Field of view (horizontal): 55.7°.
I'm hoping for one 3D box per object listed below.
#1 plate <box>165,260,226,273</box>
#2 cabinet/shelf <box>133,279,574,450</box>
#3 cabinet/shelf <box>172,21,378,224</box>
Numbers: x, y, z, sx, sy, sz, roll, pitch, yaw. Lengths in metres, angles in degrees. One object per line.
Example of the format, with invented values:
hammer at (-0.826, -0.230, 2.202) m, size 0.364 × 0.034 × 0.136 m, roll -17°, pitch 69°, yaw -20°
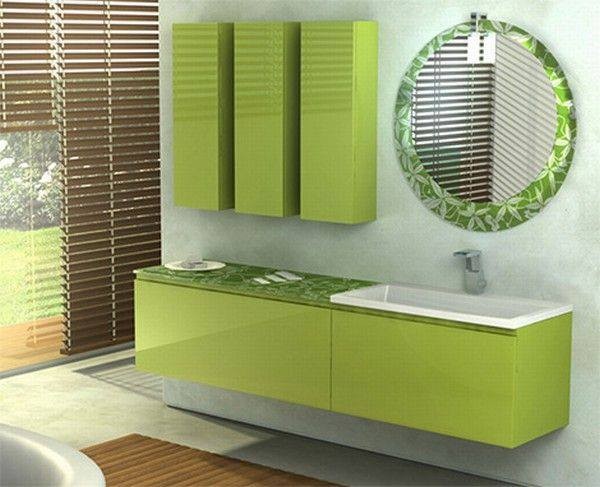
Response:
plate at (-0.637, 0.128, 3.456) m, size 0.336 × 0.060 × 0.335 m, roll -2°, pitch 5°, yaw -24°
cabinet/shelf at (0.129, 0.543, 2.848) m, size 2.090 × 0.550 × 0.358 m, roll 2°, pitch 5°, yaw 30°
cabinet/shelf at (-0.104, -0.680, 3.050) m, size 1.402 × 0.938 × 0.395 m, roll 4°, pitch 7°, yaw 34°
